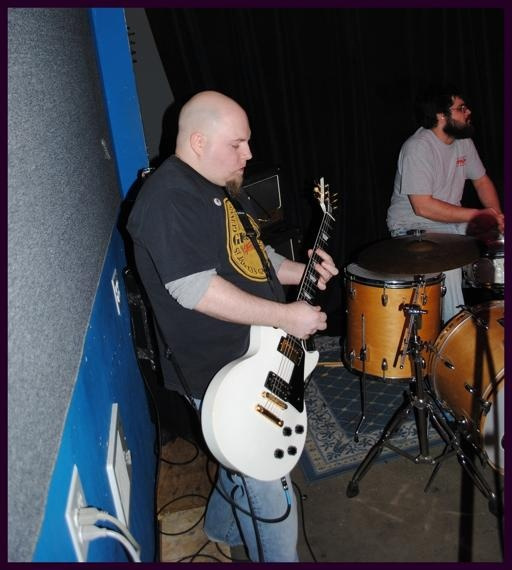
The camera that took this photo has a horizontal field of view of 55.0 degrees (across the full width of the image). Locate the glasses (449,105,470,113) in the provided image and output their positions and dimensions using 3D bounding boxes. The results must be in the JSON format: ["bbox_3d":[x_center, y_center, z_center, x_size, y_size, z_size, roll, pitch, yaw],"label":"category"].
[{"bbox_3d":[1.209,-1.051,2.944,0.115,0.053,0.040,-17,21,-19],"label":"glasses"}]

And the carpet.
[{"bbox_3d":[0.624,0.632,2.451,0.467,0.047,0.842,3,24,12],"label":"carpet"}]

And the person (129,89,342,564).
[{"bbox_3d":[-0.009,0.282,1.659,0.567,1.766,0.519,-17,21,-18],"label":"person"}]

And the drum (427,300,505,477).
[{"bbox_3d":[0.993,0.398,2.090,0.322,0.499,0.523,-11,20,-5],"label":"drum"}]

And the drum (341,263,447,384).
[{"bbox_3d":[0.644,0.183,2.678,0.548,0.582,0.582,-1,15,3],"label":"drum"}]
